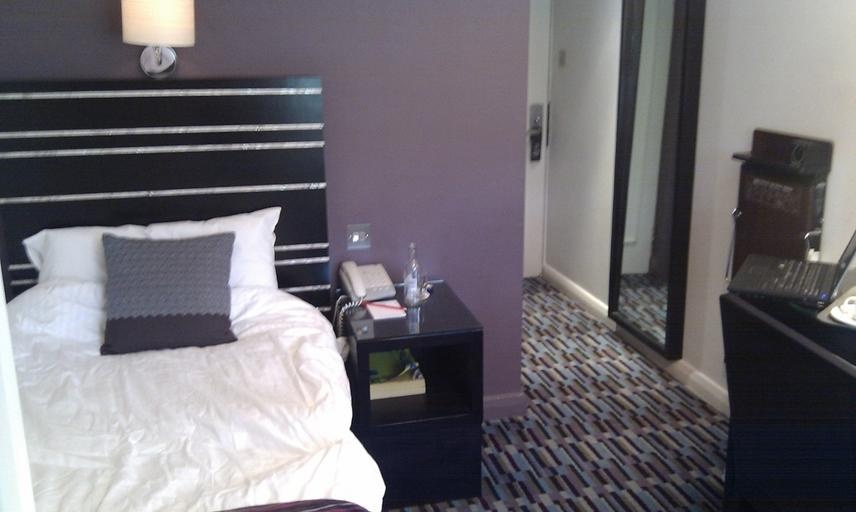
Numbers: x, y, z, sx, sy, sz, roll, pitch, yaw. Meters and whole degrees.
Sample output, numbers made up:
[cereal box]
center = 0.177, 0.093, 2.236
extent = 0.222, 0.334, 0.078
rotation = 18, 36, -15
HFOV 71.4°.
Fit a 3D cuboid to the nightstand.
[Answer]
[nightstand]
center = -0.057, 0.782, 3.341
extent = 0.735, 0.997, 0.604
rotation = -7, 19, -7
